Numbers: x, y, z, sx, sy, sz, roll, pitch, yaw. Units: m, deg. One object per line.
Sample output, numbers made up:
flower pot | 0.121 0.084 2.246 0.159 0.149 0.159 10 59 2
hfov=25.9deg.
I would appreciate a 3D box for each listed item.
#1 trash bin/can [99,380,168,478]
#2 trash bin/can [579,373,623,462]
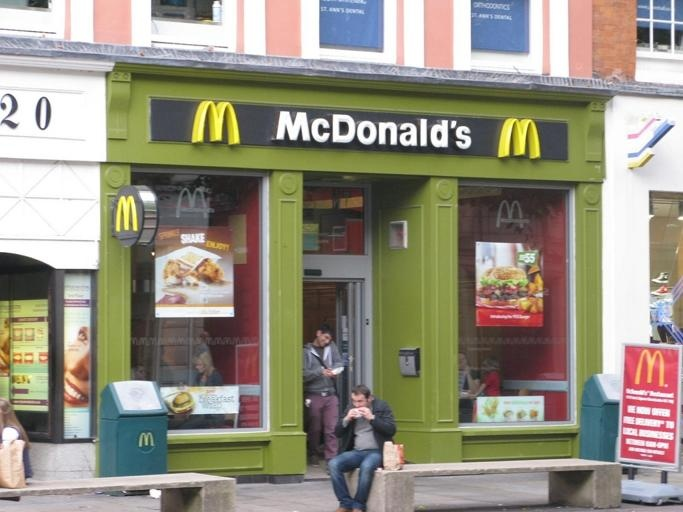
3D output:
trash bin/can | -2.729 2.236 19.465 0.815 1.195 0.460 -1 -4 -3
trash bin/can | 3.763 2.302 21.327 0.394 1.227 0.756 1 -5 -27
